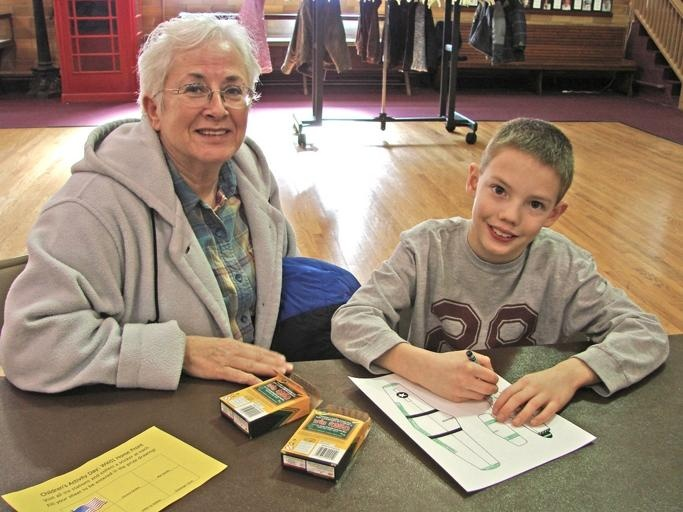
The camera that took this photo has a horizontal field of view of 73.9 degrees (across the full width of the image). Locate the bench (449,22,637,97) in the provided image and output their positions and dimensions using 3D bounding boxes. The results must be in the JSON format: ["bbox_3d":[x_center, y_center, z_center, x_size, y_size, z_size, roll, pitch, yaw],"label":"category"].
[{"bbox_3d":[3.748,-3.783,8.979,3.524,1.154,0.923,-3,16,-7],"label":"bench"}]
